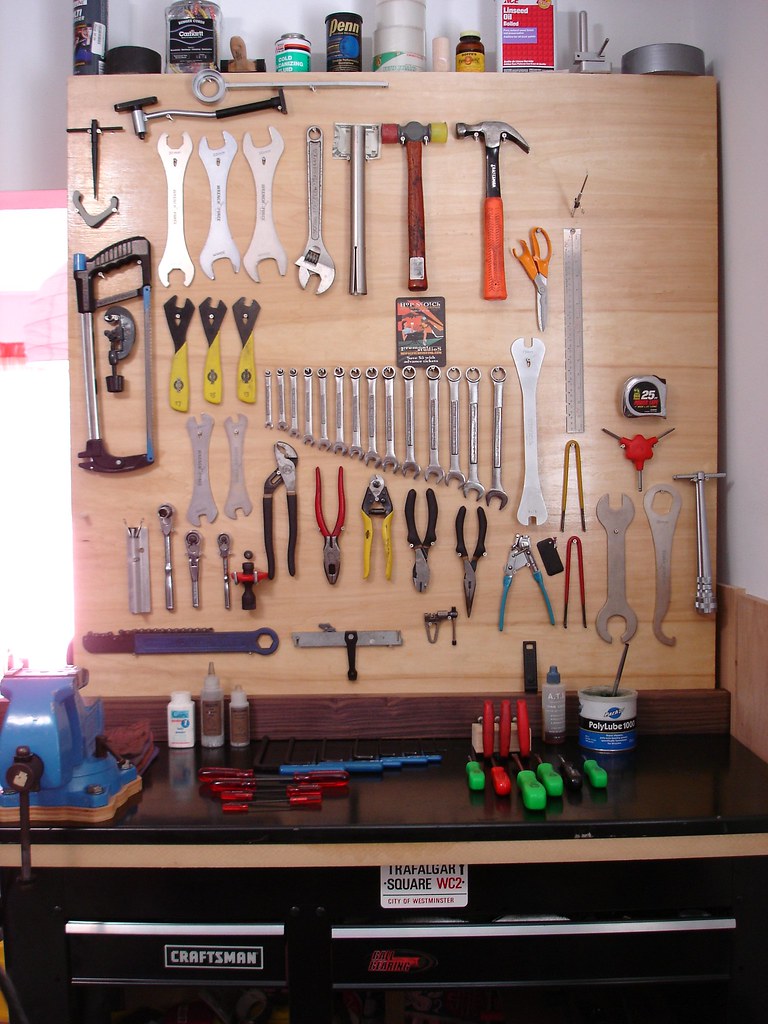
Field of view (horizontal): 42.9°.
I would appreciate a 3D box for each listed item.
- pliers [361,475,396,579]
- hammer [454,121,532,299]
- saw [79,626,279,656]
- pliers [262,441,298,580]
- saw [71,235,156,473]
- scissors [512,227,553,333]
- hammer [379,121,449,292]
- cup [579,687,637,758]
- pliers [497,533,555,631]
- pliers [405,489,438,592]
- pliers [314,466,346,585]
[{"bbox_3d":[-0.015,0.035,2.119,0.069,0.226,0.039,-2,9,-2],"label":"pliers"},{"bbox_3d":[0.231,-0.644,2.087,0.156,0.372,0.072,-1,9,6],"label":"hammer"},{"bbox_3d":[-0.443,0.285,2.128,0.424,0.063,0.028,-1,9,1],"label":"saw"},{"bbox_3d":[-0.230,-0.002,2.124,0.081,0.295,0.025,-3,12,-13],"label":"pliers"},{"bbox_3d":[-0.579,-0.333,2.091,0.180,0.506,0.102,-4,9,-12],"label":"saw"},{"bbox_3d":[0.317,-0.514,2.115,0.031,0.110,0.299,-13,49,1],"label":"scissors"},{"bbox_3d":[0.065,-0.650,2.076,0.141,0.350,0.077,-2,9,2],"label":"hammer"},{"bbox_3d":[0.461,0.426,2.020,0.121,0.105,0.106,1,2,-15],"label":"cup"},{"bbox_3d":[0.303,0.149,2.139,0.134,0.220,0.024,-6,15,-7],"label":"pliers"},{"bbox_3d":[0.081,0.063,2.118,0.072,0.227,0.034,-2,9,1],"label":"pliers"},{"bbox_3d":[-0.116,0.031,2.119,0.065,0.255,0.042,-3,9,-4],"label":"pliers"}]
